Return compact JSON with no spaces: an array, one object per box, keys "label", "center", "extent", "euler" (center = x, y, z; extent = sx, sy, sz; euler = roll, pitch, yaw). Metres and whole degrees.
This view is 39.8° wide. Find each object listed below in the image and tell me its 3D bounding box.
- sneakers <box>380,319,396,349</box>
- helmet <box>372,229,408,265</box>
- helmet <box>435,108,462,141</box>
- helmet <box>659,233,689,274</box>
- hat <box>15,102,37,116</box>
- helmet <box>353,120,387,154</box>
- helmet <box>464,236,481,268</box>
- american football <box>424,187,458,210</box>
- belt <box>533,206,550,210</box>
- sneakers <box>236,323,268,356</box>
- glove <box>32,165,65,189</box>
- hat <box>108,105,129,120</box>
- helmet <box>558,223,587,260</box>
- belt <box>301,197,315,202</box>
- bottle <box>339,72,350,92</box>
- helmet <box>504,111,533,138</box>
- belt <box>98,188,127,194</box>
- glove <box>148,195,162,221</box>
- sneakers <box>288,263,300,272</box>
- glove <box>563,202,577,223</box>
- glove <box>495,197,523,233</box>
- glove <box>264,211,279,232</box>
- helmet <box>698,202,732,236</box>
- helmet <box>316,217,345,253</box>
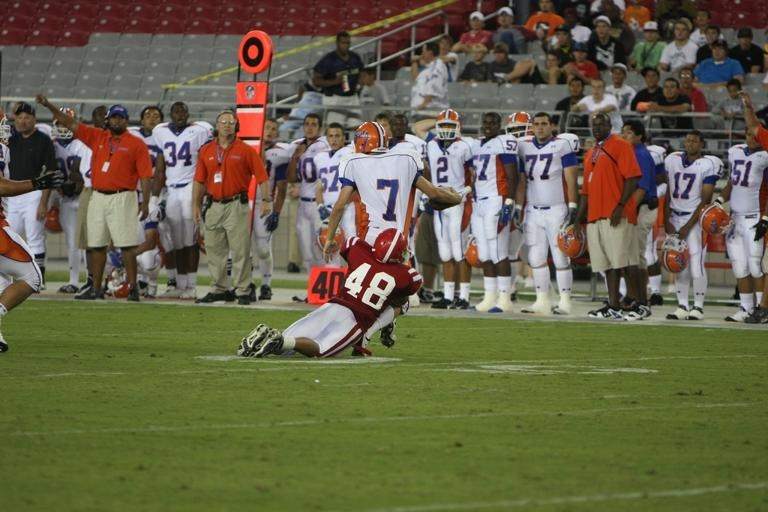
[{"label":"sneakers","center":[0.155,0.835,11.241],"extent":[0.119,0.147,0.324],"euler":[2,-34,8]},{"label":"helmet","center":[0.131,-0.110,11.000],"extent":[0.269,0.360,0.317],"euler":[18,0,23]},{"label":"helmet","center":[1.010,-1.901,15.729],"extent":[0.347,0.373,0.474],"euler":[3,-8,-10]},{"label":"helmet","center":[4.062,-0.029,15.269],"extent":[0.362,0.538,0.387],"euler":[5,8,26]},{"label":"hat","center":[-4.657,-2.088,15.143],"extent":[0.230,0.163,0.249],"euler":[-1,8,-26]},{"label":"helmet","center":[-0.011,-1.362,12.267],"extent":[0.349,0.359,0.431],"euler":[2,7,-1]},{"label":"helmet","center":[1.405,-0.033,15.985],"extent":[0.282,0.366,0.367],"euler":[2,-30,5]},{"label":"american football","center":[0.800,-0.606,11.821],"extent":[0.421,0.168,0.324],"euler":[-4,1,-14]},{"label":"belt","center":[2.298,-0.705,15.405],"extent":[0.222,0.051,0.031],"euler":[5,7,22]},{"label":"sneakers","center":[-1.116,0.812,10.530],"extent":[0.152,0.385,0.215],"euler":[50,10,14]},{"label":"glove","center":[-3.078,-0.778,10.766],"extent":[0.273,0.200,0.295],"euler":[1,7,-12]},{"label":"hat","center":[-3.365,-2.043,14.937],"extent":[0.212,0.152,0.296],"euler":[2,-4,-10]},{"label":"helmet","center":[2.712,-0.199,15.414],"extent":[0.447,0.501,0.468],"euler":[1,-1,30]},{"label":"belt","center":[-0.953,-0.876,16.402],"extent":[0.241,0.077,0.024],"euler":[5,7,24]},{"label":"bottle","center":[-0.482,-3.266,20.087],"extent":[0.141,0.347,0.131],"euler":[2,7,0]},{"label":"helmet","center":[2.037,-1.934,15.710],"extent":[0.346,0.399,0.577],"euler":[3,7,7]},{"label":"belt","center":[-3.450,-0.912,14.975],"extent":[0.372,0.079,0.075],"euler":[3,7,8]},{"label":"glove","center":[-2.988,-0.706,15.613],"extent":[0.132,0.328,0.207],"euler":[2,-9,23]},{"label":"sneakers","center":[-1.602,0.218,22.946],"extent":[0.231,0.220,0.137],"euler":[1,7,-10]},{"label":"glove","center":[2.680,-0.623,15.330],"extent":[0.168,0.296,0.209],"euler":[5,7,23]},{"label":"glove","center":[1.896,-0.583,15.481],"extent":[0.147,0.406,0.431],"euler":[13,-6,-43]},{"label":"glove","center":[-1.409,-0.523,15.935],"extent":[0.182,0.281,0.078],"euler":[14,4,-45]},{"label":"helmet","center":[4.610,-0.468,15.096],"extent":[0.522,0.506,0.432],"euler":[2,13,10]},{"label":"helmet","center":[-0.514,-0.281,13.925],"extent":[0.376,0.371,0.282],"euler":[34,13,-22]}]
